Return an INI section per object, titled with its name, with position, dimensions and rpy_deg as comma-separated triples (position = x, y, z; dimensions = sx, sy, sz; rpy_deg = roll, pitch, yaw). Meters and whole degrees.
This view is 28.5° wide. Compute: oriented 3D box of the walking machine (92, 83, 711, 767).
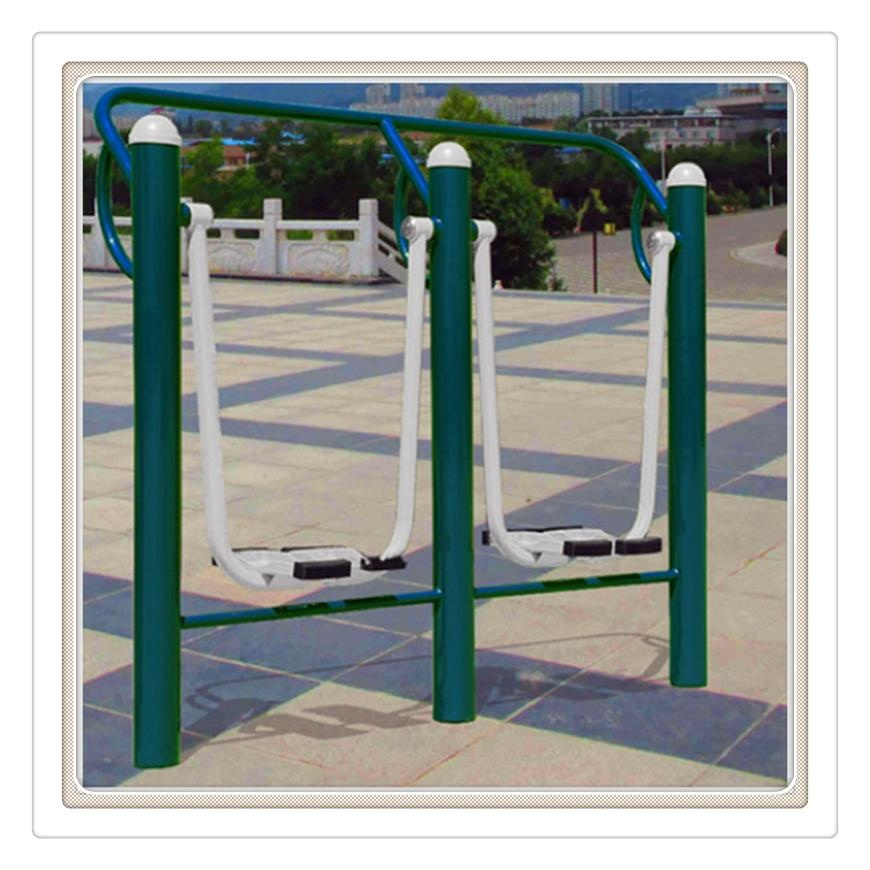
[walking machine]
position = -0.032, -0.063, 5.397
dimensions = 2.118, 1.952, 0.706
rpy_deg = -2, 5, -33
